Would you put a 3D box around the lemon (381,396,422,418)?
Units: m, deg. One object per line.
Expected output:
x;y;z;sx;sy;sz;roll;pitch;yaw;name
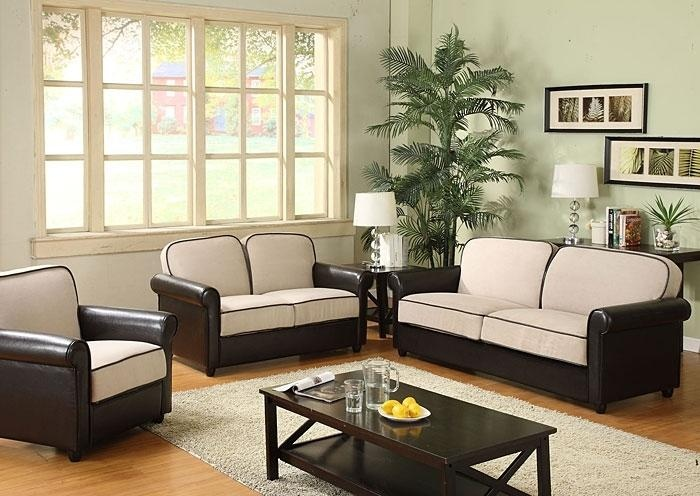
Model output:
0.266;0.748;2.678;0.111;0.038;0.109;1;-1;-42;lemon

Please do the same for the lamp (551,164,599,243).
2.297;-0.477;5.656;0.431;0.796;0.639;3;8;23;lamp

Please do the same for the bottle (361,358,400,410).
0.179;0.681;2.935;0.269;0.261;0.172;0;1;-8;bottle

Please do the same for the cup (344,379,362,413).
0.022;0.730;2.762;0.137;0.152;0.133;0;-2;0;cup
